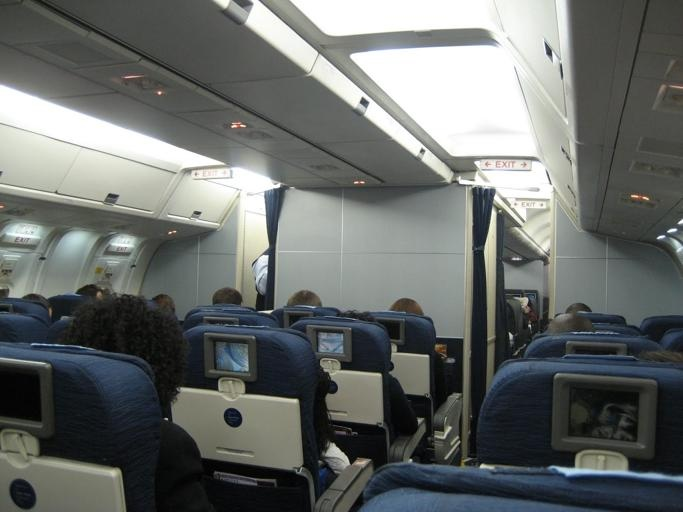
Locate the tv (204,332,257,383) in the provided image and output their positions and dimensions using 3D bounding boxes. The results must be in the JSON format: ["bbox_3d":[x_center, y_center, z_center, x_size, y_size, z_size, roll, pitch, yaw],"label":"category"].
[{"bbox_3d":[-0.662,0.610,2.934,0.356,0.259,0.047,1,2,28],"label":"tv"}]

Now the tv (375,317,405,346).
[{"bbox_3d":[0.458,0.686,4.474,0.373,0.258,0.049,1,3,26],"label":"tv"}]

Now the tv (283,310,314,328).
[{"bbox_3d":[-0.448,0.623,4.944,0.196,0.247,0.215,1,0,21],"label":"tv"}]

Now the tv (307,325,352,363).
[{"bbox_3d":[-0.080,0.677,3.754,0.390,0.289,0.193,2,3,11],"label":"tv"}]
